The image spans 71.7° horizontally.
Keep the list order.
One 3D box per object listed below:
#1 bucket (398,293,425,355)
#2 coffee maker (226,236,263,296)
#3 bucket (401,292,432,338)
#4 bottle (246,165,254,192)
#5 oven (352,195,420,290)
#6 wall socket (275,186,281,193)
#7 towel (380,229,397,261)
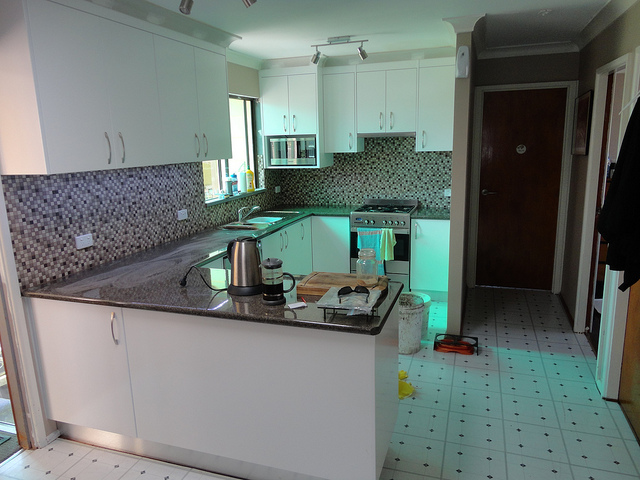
[{"bbox_3d":[0.871,0.797,4.336,0.356,0.495,0.423,2,11,17],"label":"bucket"},{"bbox_3d":[-0.499,0.169,2.873,0.233,0.368,0.160,-4,11,-8],"label":"coffee maker"},{"bbox_3d":[1.097,0.738,4.679,0.399,0.429,0.407,-1,20,0],"label":"bucket"},{"bbox_3d":[-0.894,-0.747,5.637,0.089,0.265,0.265,-4,11,-7],"label":"bottle"},{"bbox_3d":[0.786,0.093,5.632,0.750,1.306,0.676,1,20,9],"label":"oven"},{"bbox_3d":[-0.585,-0.715,6.208,0.064,0.083,0.117,2,11,10],"label":"wall socket"},{"bbox_3d":[0.822,0.056,5.248,0.221,0.379,0.120,-9,13,-31],"label":"towel"}]
